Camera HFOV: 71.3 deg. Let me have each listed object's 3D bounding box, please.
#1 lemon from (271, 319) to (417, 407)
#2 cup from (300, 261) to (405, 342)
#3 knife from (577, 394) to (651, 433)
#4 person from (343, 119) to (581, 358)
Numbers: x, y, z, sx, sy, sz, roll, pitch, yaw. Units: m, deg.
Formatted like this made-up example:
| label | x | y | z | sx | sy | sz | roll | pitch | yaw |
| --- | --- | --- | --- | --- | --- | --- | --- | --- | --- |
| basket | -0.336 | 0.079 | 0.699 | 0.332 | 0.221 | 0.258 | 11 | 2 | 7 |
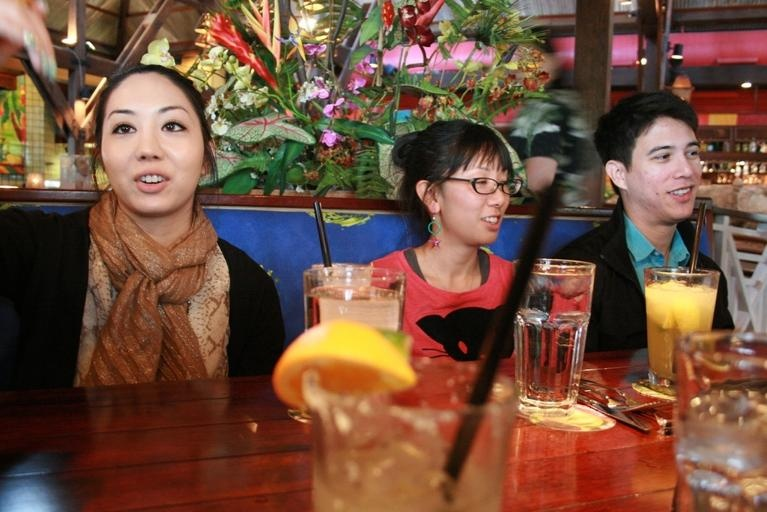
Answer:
| label | x | y | z | sx | sy | sz | roll | pitch | yaw |
| --- | --- | --- | --- | --- | --- | --- | --- | --- | --- |
| lemon | -0.044 | 0.105 | 0.529 | 0.113 | 0.038 | 0.109 | -24 | -42 | 32 |
| cup | -0.055 | 0.075 | 0.954 | 0.144 | 0.094 | 0.137 | 2 | 3 | 0 |
| knife | 0.419 | 0.284 | 0.992 | 0.026 | 0.011 | 0.203 | -8 | 8 | -12 |
| person | 0.537 | -0.099 | 2.587 | 1.101 | 1.313 | 0.809 | 1 | -3 | -39 |
